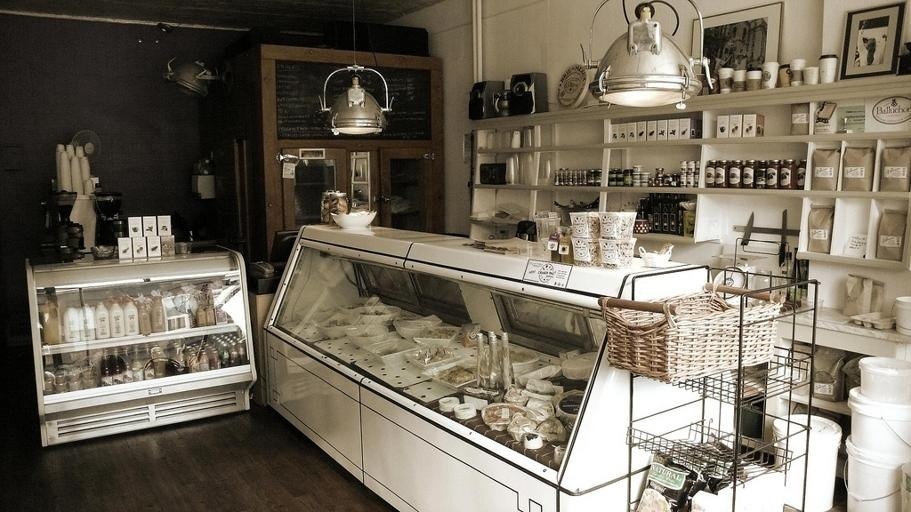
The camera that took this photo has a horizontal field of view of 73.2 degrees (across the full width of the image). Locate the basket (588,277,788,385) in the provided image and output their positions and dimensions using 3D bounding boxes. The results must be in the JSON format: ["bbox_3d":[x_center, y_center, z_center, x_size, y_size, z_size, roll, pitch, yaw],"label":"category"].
[{"bbox_3d":[1.645,0.509,4.291,1.075,0.411,0.616,-4,5,-24],"label":"basket"}]

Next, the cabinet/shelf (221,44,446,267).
[{"bbox_3d":[-1.741,-1.322,9.047,3.067,2.989,1.286,-9,12,-43],"label":"cabinet/shelf"}]

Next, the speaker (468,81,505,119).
[{"bbox_3d":[0.410,-2.003,7.879,0.443,0.419,0.503,-7,13,-14],"label":"speaker"}]

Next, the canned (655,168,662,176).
[{"bbox_3d":[2.152,-0.890,6.506,0.102,0.087,0.092,0,5,4],"label":"canned"}]

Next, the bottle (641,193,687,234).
[{"bbox_3d":[2.190,-0.431,6.400,0.231,0.334,0.422,-13,18,-39],"label":"bottle"}]

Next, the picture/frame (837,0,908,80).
[{"bbox_3d":[3.640,-1.880,5.370,0.406,0.586,0.185,4,13,34],"label":"picture/frame"}]

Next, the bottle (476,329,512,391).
[{"bbox_3d":[0.294,0.821,4.863,0.220,0.437,0.392,-12,14,-41],"label":"bottle"}]

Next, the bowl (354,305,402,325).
[{"bbox_3d":[-0.710,0.537,5.647,0.335,0.067,0.201,1,15,10],"label":"bowl"}]

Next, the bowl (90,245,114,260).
[{"bbox_3d":[-3.598,-0.035,6.285,0.175,0.089,0.167,1,-6,0],"label":"bowl"}]

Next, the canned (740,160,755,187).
[{"bbox_3d":[2.812,-0.788,5.912,0.086,0.253,0.102,-7,11,-19],"label":"canned"}]

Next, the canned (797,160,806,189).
[{"bbox_3d":[3.196,-0.753,5.683,0.070,0.266,0.147,2,12,27],"label":"canned"}]

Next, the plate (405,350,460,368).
[{"bbox_3d":[-0.188,0.875,5.182,0.240,0.047,0.222,1,7,14],"label":"plate"}]

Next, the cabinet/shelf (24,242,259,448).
[{"bbox_3d":[-3.135,0.918,6.149,2.347,1.712,1.159,-2,3,-23],"label":"cabinet/shelf"}]

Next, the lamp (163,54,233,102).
[{"bbox_3d":[-3.482,-2.426,8.380,0.872,0.382,0.580,16,4,-22],"label":"lamp"}]

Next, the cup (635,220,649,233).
[{"bbox_3d":[1.966,-0.309,6.458,0.150,0.105,0.139,-1,5,0],"label":"cup"}]

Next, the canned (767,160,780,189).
[{"bbox_3d":[2.994,-0.769,5.800,0.093,0.256,0.092,-11,13,-35],"label":"canned"}]

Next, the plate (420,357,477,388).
[{"bbox_3d":[-0.040,0.931,4.992,0.328,0.046,0.216,-5,24,-4],"label":"plate"}]

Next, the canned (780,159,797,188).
[{"bbox_3d":[3.100,-0.764,5.736,0.128,0.264,0.078,1,12,22],"label":"canned"}]

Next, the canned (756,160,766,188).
[{"bbox_3d":[2.903,-0.775,5.851,0.096,0.243,0.074,3,12,31],"label":"canned"}]

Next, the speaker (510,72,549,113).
[{"bbox_3d":[0.864,-1.945,7.408,0.376,0.441,0.402,-10,13,-42],"label":"speaker"}]
